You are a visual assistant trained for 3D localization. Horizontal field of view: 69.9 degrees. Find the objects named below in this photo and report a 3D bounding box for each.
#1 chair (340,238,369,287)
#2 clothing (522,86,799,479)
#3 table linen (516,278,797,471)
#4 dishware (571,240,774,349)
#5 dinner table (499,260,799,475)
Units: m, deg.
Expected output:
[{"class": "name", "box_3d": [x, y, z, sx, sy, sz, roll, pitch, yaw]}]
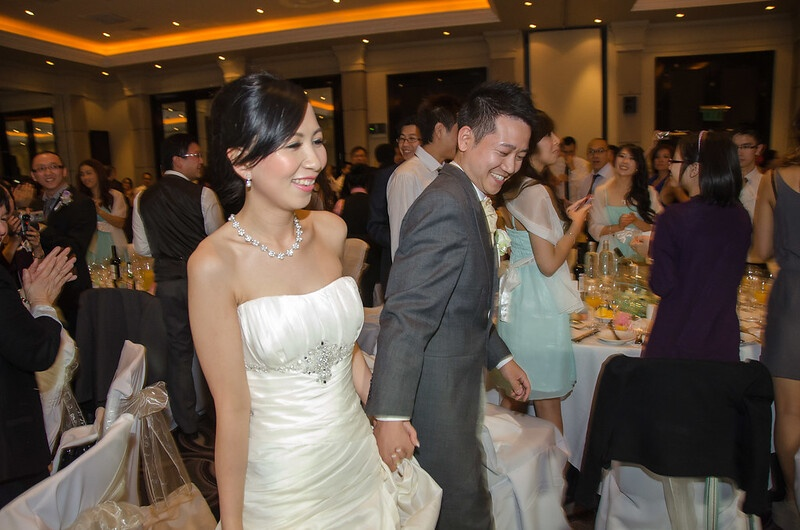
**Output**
[{"class": "chair", "box_3d": [-0.345, -0.058, 4.380, 0.267, 0.362, 0.295, 6, -16, 4]}, {"class": "clothing", "box_3d": [1.451, -0.108, 3.868, 1.926, 1.681, 1.522, 3, 14, 21]}, {"class": "table linen", "box_3d": [1.657, 0.663, 3.839, 1.185, 1.240, 1.246, 0, 5, 8]}, {"class": "dishware", "box_3d": [1.919, 0.250, 3.728, 0.857, 0.229, 0.905, -9, 14, -3]}, {"class": "dinner table", "box_3d": [1.650, 0.600, 3.601, 1.248, 0.493, 1.179, 0, 9, 15]}]
